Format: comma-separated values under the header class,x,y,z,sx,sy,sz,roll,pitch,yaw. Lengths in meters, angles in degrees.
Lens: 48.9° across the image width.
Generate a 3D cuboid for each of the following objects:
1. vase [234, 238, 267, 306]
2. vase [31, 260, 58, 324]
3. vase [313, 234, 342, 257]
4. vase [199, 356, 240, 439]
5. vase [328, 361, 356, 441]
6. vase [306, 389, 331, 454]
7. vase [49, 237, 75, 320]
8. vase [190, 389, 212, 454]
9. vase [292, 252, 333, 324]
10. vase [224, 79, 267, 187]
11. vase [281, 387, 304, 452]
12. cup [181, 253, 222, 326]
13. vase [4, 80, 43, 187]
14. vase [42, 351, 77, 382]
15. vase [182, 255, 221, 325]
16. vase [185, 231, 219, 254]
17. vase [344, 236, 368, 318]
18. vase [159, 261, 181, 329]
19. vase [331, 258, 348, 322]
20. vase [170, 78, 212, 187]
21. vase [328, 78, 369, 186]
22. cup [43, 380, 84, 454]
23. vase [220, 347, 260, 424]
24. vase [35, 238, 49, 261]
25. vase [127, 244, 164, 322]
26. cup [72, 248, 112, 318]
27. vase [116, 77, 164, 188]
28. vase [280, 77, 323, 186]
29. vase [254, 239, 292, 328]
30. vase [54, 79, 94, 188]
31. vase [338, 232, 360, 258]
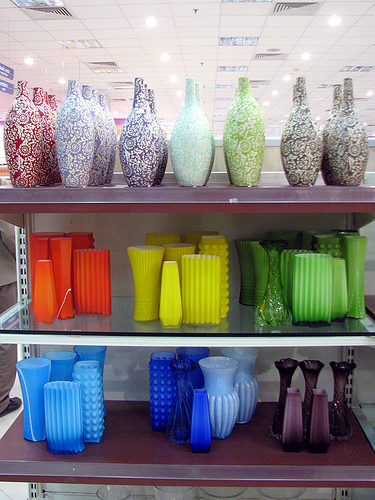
class,x,y,z,sx,sy,sz,roll,pitch,yaw
vase,0.200,0.074,1.407,0.148,0.261,0.170,0,2,-2
vase,-0.430,0.116,1.235,0.073,0.185,0.152,-2,8,-21
vase,0.430,-0.013,1.274,0.056,0.073,0.081,0,-6,2
vase,0.104,0.452,1.277,0.114,0.200,0.120,-2,7,-11
vase,0.478,0.461,1.286,0.073,0.221,0.120,3,8,21
vase,0.398,0.510,1.203,0.063,0.155,0.087,-12,-25,42
vase,-0.405,0.072,1.304,0.084,0.290,0.081,1,45,-22
vase,0.041,0.485,1.171,0.055,0.173,0.065,1,7,6
vase,0.355,0.112,1.173,0.101,0.196,0.041,3,7,16
vase,0.159,-0.329,1.133,0.113,0.305,0.212,2,7,8
vase,0.311,0.484,1.198,0.060,0.175,0.105,3,8,18
cup,0.015,0.118,1.313,0.156,0.278,0.166,0,3,0
vase,-0.435,-0.316,1.099,0.095,0.296,0.229,-2,8,-19
vase,-0.402,0.363,1.340,0.097,0.104,0.085,9,12,37
vase,0.040,0.114,1.195,0.108,0.191,0.040,0,7,-1
vase,0.057,-0.025,1.389,0.080,0.064,0.080,0,0,-38
vase,0.522,0.076,1.284,0.074,0.241,0.133,3,8,21
vase,-0.047,0.125,1.161,0.058,0.183,0.065,0,7,-5
vase,0.454,0.115,1.215,0.074,0.185,0.037,-4,8,-32
vase,0.012,-0.327,1.119,0.115,0.306,0.199,0,7,-1
vase,0.468,-0.349,1.184,0.103,0.324,0.201,4,8,28
cup,-0.362,0.480,1.195,0.110,0.152,0.109,-2,1,0
vase,0.176,0.455,1.391,0.133,0.237,0.133,1,-10,-37
vase,-0.438,-0.005,1.246,0.044,0.066,0.028,-1,7,-10
vase,-0.120,0.099,1.234,0.112,0.217,0.091,-2,8,-17
cup,-0.305,0.095,1.321,0.121,0.204,0.122,-1,-4,0
vase,-0.124,-0.323,1.115,0.116,0.294,0.097,0,7,-5
vase,0.319,-0.331,1.136,0.105,0.302,0.126,4,8,27
vase,0.250,0.091,1.198,0.101,0.243,0.099,-2,8,-19
vase,-0.294,-0.316,1.093,0.095,0.290,0.111,-6,10,-42
vase,0.496,-0.014,1.308,0.064,0.091,0.084,-1,1,-27
